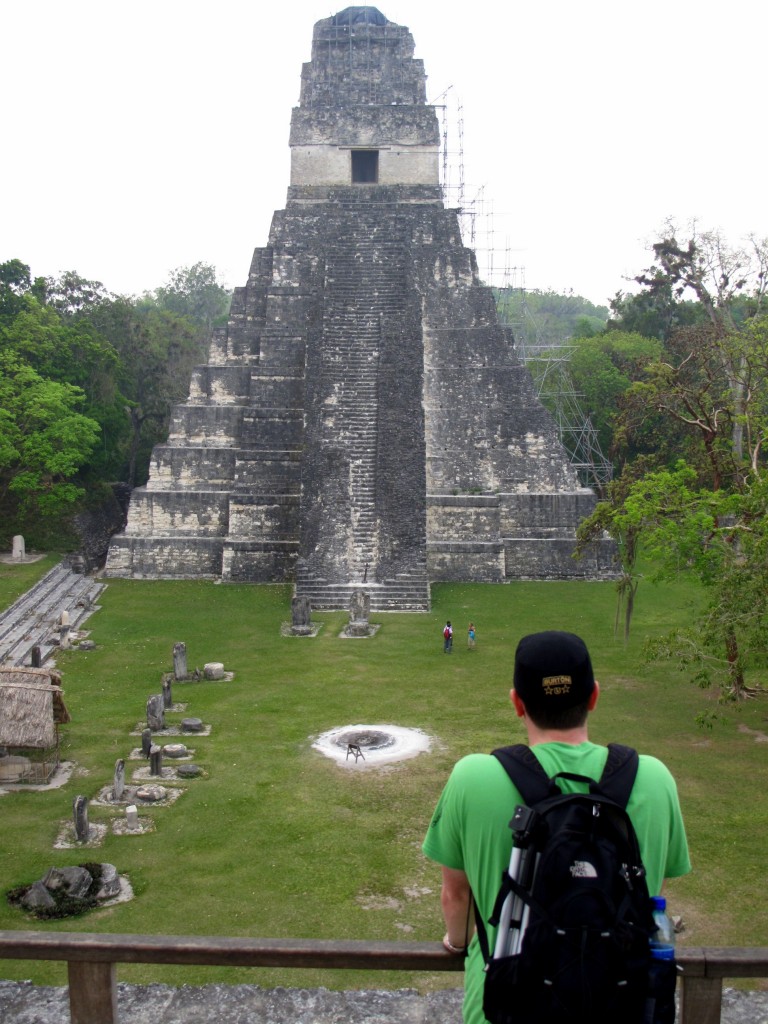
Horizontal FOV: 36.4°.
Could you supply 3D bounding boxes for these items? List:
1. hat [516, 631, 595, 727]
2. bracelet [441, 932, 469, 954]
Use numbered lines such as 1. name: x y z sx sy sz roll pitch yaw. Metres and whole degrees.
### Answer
1. hat: 0.532 0.507 3.710 0.253 0.169 0.327 -2 20 4
2. bracelet: 0.235 1.456 3.946 0.066 0.026 0.081 0 -4 -2
